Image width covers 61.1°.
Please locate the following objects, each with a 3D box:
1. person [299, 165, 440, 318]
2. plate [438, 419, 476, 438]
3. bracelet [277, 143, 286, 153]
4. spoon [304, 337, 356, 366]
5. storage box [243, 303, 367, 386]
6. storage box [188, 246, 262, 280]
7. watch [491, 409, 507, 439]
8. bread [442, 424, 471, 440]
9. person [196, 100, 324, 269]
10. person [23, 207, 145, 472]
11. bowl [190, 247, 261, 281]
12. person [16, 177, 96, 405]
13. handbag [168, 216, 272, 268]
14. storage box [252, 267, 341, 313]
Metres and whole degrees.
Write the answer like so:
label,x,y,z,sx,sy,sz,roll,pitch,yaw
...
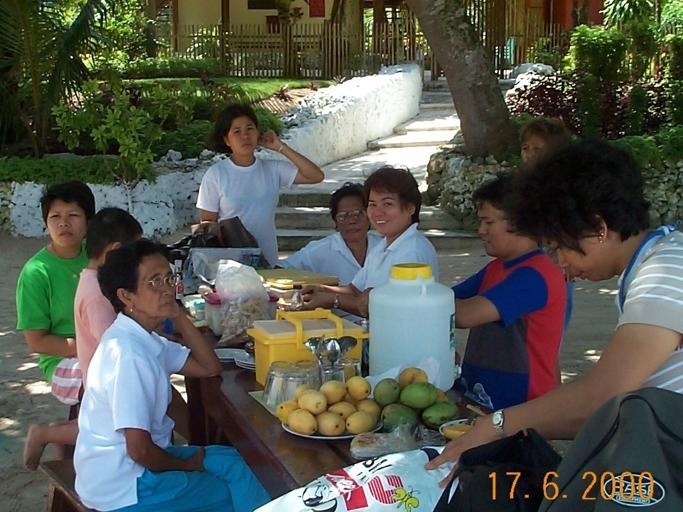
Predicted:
label,x,y,z,sx,sy,sz,roll,pitch,yaw
person,-0.019,-0.096,3.154,0.884,0.884,0.633,-1,6,-13
plate,0.368,0.558,1.868,0.068,0.026,0.058,-12,4,6
bracelet,-0.514,-0.934,4.957,0.021,0.079,0.084,21,-23,-29
spoon,-0.043,0.359,2.233,0.143,0.054,0.136,0,3,-13
storage box,-0.197,0.292,2.520,0.482,0.305,0.518,-9,15,-26
storage box,-0.746,0.003,3.679,0.394,0.199,0.310,-7,15,-32
watch,0.453,0.485,1.666,0.045,0.064,0.065,-14,39,26
bread,0.360,0.561,1.853,0.071,0.026,0.063,3,5,9
person,-0.788,-0.656,4.917,0.720,1.647,0.683,-3,7,-25
person,-1.297,0.312,3.015,0.612,1.392,0.631,-7,26,-36
bowl,-0.750,0.003,3.678,0.394,0.199,0.317,-7,15,-32
person,-1.529,0.232,3.406,0.618,1.304,0.542,-7,21,-33
handbag,-0.855,-0.094,3.928,0.607,0.522,0.388,-7,15,-25
storage box,-0.253,0.131,3.129,0.463,0.192,0.354,-8,15,-38
